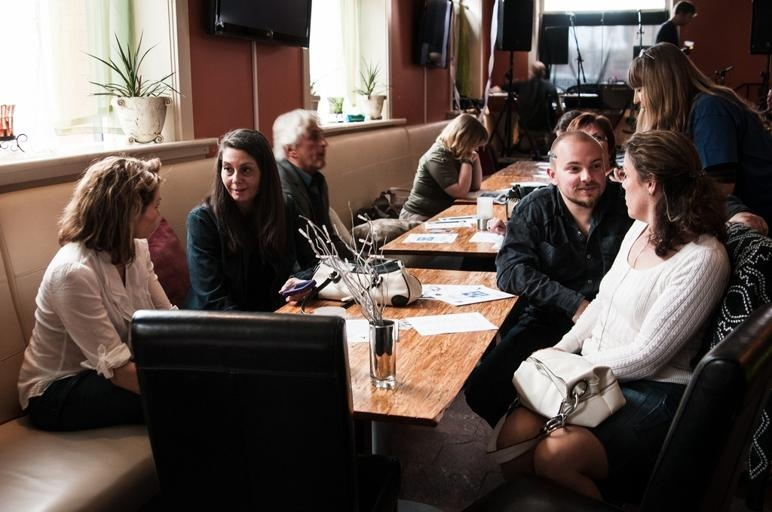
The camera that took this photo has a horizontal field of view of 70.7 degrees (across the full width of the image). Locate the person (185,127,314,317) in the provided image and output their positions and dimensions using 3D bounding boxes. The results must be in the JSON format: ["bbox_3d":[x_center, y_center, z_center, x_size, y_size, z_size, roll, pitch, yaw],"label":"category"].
[{"bbox_3d":[-0.873,-0.215,3.061,0.766,1.073,0.964,-5,13,-26],"label":"person"}]

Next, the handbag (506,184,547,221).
[{"bbox_3d":[0.951,-0.424,3.800,0.272,0.169,0.474,2,17,20],"label":"handbag"}]

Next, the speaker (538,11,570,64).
[{"bbox_3d":[3.337,-4.279,10.743,0.608,0.957,0.729,3,20,17],"label":"speaker"}]

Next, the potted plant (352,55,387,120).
[{"bbox_3d":[-0.174,-1.832,6.272,0.318,0.519,0.320,-4,8,-2],"label":"potted plant"}]

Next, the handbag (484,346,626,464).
[{"bbox_3d":[0.602,0.478,1.888,0.467,0.183,0.337,-27,13,-16],"label":"handbag"}]

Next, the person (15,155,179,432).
[{"bbox_3d":[-1.219,0.133,2.190,0.546,0.968,0.559,-2,19,4],"label":"person"}]

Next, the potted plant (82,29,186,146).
[{"bbox_3d":[-1.541,-1.075,3.606,0.620,0.656,0.664,0,7,8],"label":"potted plant"}]
